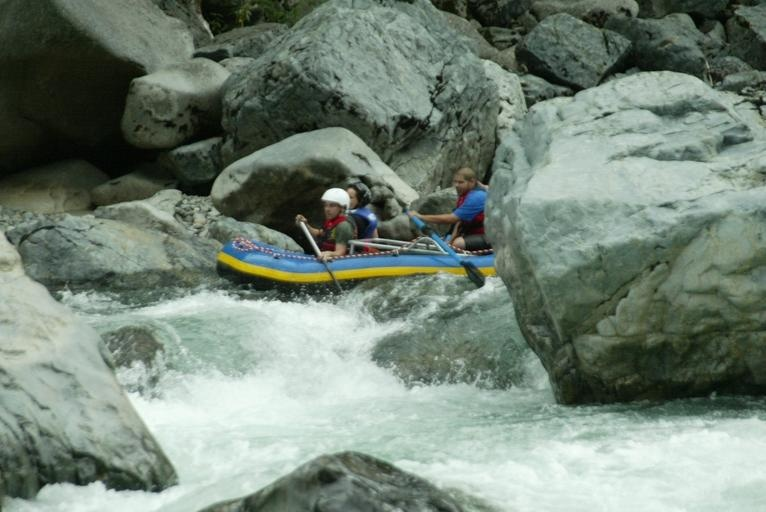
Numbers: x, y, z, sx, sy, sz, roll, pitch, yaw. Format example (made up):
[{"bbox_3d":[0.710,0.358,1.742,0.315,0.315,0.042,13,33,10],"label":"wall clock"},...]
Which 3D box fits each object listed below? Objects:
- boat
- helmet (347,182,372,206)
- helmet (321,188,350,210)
[{"bbox_3d":[-0.471,0.165,14.927,3.367,0.537,1.456,0,1,-13],"label":"boat"},{"bbox_3d":[-0.372,-0.949,15.674,0.331,0.376,0.390,3,-17,-12],"label":"helmet"},{"bbox_3d":[-0.715,-0.868,15.205,0.367,0.272,0.301,-11,27,-31],"label":"helmet"}]
